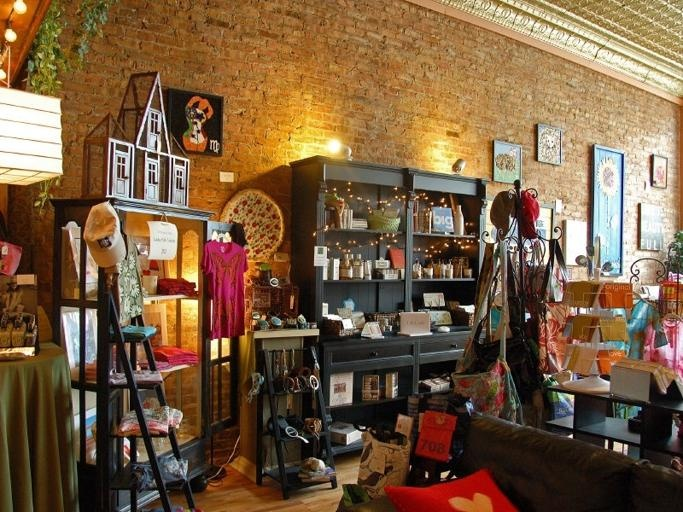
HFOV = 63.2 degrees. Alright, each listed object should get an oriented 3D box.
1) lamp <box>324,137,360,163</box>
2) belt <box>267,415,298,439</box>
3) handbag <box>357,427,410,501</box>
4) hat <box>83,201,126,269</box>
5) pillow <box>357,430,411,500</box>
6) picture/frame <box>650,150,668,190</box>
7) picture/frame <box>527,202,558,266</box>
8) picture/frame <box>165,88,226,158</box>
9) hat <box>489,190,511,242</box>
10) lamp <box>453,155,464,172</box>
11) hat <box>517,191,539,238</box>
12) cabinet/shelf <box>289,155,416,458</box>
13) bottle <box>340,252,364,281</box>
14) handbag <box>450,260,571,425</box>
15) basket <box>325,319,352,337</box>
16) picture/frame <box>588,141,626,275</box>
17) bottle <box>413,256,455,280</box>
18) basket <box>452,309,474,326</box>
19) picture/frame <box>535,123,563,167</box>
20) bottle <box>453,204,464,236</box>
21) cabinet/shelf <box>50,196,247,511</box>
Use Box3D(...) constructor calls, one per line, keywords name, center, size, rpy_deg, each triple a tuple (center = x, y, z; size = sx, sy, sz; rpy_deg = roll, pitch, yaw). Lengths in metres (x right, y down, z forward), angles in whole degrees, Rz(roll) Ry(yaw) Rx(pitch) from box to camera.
Box3D(name="lamp", center=(0.008, -1.132, 5.824), size=(0.313, 0.263, 0.250), rpy_deg=(-4, 28, -16))
Box3D(name="belt", center=(-0.506, 1.511, 5.010), size=(0.279, 0.141, 0.303), rpy_deg=(2, -1, -22))
Box3D(name="handbag", center=(0.259, 1.307, 3.612), size=(0.357, 0.488, 0.133), rpy_deg=(20, 0, 3))
Box3D(name="hat", center=(-1.607, -0.143, 3.866), size=(0.260, 0.448, 0.153), rpy_deg=(-13, 6, -2))
Box3D(name="pillow", center=(0.253, 1.336, 3.558), size=(0.275, 0.403, 0.118), rpy_deg=(5, -9, 24))
Box3D(name="picture/frame", center=(5.443, -1.481, 9.585), size=(0.063, 0.686, 0.666), rpy_deg=(-1, -2, 41))
Box3D(name="picture/frame", center=(2.105, -0.240, 5.853), size=(0.053, 1.122, 0.791), rpy_deg=(-2, -3, 34))
Box3D(name="picture/frame", center=(-1.372, -1.266, 5.279), size=(0.516, 0.653, 0.027), rpy_deg=(4, -18, -17))
Box3D(name="hat", center=(1.410, -0.356, 4.898), size=(0.192, 0.441, 0.336), rpy_deg=(1, -1, 14))
Box3D(name="lamp", center=(1.375, -1.044, 6.549), size=(0.139, 0.185, 0.370), rpy_deg=(1, -1, 11))
Box3D(name="hat", center=(1.639, -0.367, 4.851), size=(0.151, 0.445, 0.225), rpy_deg=(1, -1, 30))
Box3D(name="cabinet/shelf", center=(0.312, 0.441, 5.891), size=(1.140, 2.765, 0.362), rpy_deg=(6, 9, 32))
Box3D(name="bottle", center=(0.099, 0.108, 5.776), size=(0.264, 0.302, 0.206), rpy_deg=(0, 0, -30))
Box3D(name="handbag", center=(1.328, 0.693, 4.654), size=(0.851, 1.387, 0.544), rpy_deg=(2, -1, -24))
Box3D(name="basket", center=(0.006, 0.704, 5.580), size=(0.174, 0.172, 0.412), rpy_deg=(1, -2, 31))
Box3D(name="picture/frame", center=(4.151, -0.692, 8.659), size=(0.996, 1.986, 0.194), rpy_deg=(3, -2, -44))
Box3D(name="bottle", center=(0.972, 0.141, 6.352), size=(0.696, 0.298, 0.194), rpy_deg=(-1, 2, -35))
Box3D(name="basket", center=(1.399, 0.715, 6.404), size=(0.165, 0.217, 0.271), rpy_deg=(4, -6, -36))
Box3D(name="picture/frame", center=(2.888, -1.559, 7.808), size=(0.619, 0.621, 0.062), rpy_deg=(2, 1, -43))
Box3D(name="bottle", center=(1.381, -0.416, 6.525), size=(0.137, 0.370, 0.318), rpy_deg=(1, -1, 13))
Box3D(name="cabinet/shelf", center=(-1.518, 0.769, 4.468), size=(0.919, 1.964, 1.493), rpy_deg=(1, -1, 24))
